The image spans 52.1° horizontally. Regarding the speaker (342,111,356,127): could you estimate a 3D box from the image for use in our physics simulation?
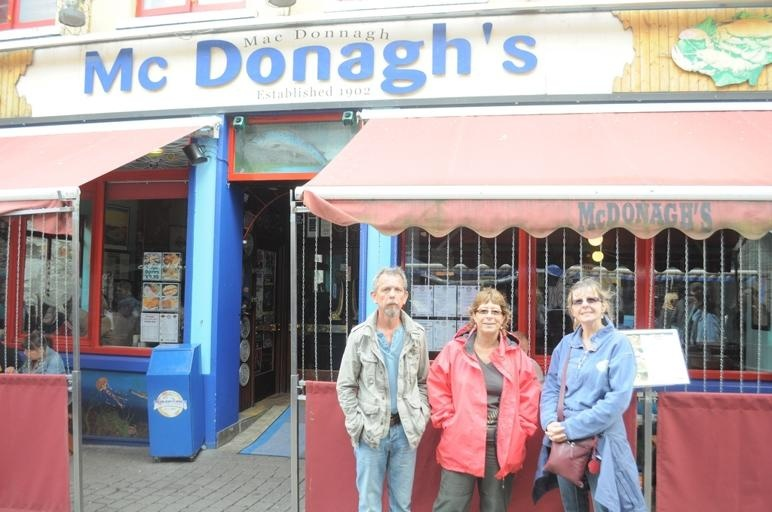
[{"bbox_3d":[-0.525,-1.977,11.320,0.143,0.105,0.215,0,-4,2],"label":"speaker"}]

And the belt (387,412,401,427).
[{"bbox_3d":[0.095,1.810,8.650,0.131,0.125,0.131,-6,-22,15],"label":"belt"}]

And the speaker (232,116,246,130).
[{"bbox_3d":[-2.136,-1.932,11.486,0.168,0.171,0.165,1,-4,-2],"label":"speaker"}]

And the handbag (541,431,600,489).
[{"bbox_3d":[1.992,2.108,8.431,0.586,0.189,0.529,-10,23,26],"label":"handbag"}]

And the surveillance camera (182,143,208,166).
[{"bbox_3d":[-2.770,-1.479,11.443,0.315,0.325,0.175,-1,13,26],"label":"surveillance camera"}]
